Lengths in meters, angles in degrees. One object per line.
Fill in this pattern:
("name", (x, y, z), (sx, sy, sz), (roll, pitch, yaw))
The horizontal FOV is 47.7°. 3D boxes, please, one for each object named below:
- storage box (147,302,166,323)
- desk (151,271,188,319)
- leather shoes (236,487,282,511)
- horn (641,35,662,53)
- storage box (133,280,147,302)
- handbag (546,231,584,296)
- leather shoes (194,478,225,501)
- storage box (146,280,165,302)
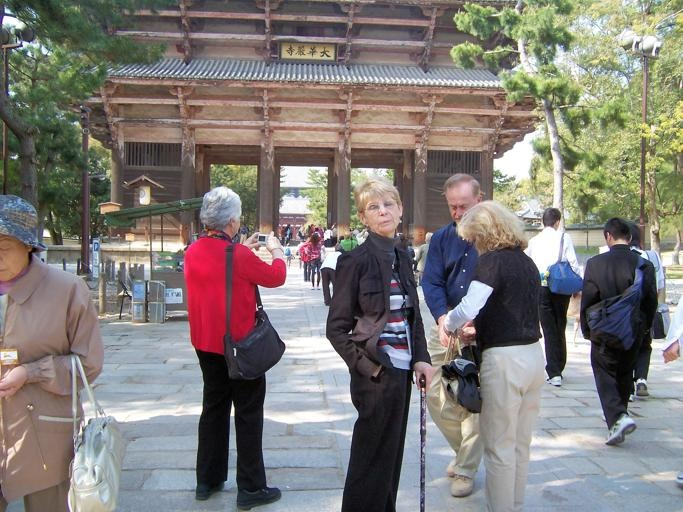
("storage box", (-3.205, 0.980, 13.373), (0.274, 0.344, 0.165), (0, 1, -12))
("desk", (-2.970, 0.654, 13.263), (0.846, 0.885, 0.457), (0, 8, 2))
("leather shoes", (-0.730, 2.105, 6.809), (0.398, 0.187, 0.144), (-6, 5, -33))
("horn", (7.321, -5.026, 18.270), (0.361, 0.471, 0.537), (1, 1, 25))
("storage box", (-3.486, 0.616, 13.340), (0.251, 0.364, 0.255), (0, 1, -9))
("handbag", (2.628, 0.107, 9.110), (0.396, 0.737, 0.175), (1, 1, 13))
("leather shoes", (-1.165, 2.071, 6.864), (0.095, 0.121, 0.276), (2, 9, 33))
("storage box", (-3.202, 0.603, 13.490), (0.337, 0.489, 0.368), (0, 3, -1))
